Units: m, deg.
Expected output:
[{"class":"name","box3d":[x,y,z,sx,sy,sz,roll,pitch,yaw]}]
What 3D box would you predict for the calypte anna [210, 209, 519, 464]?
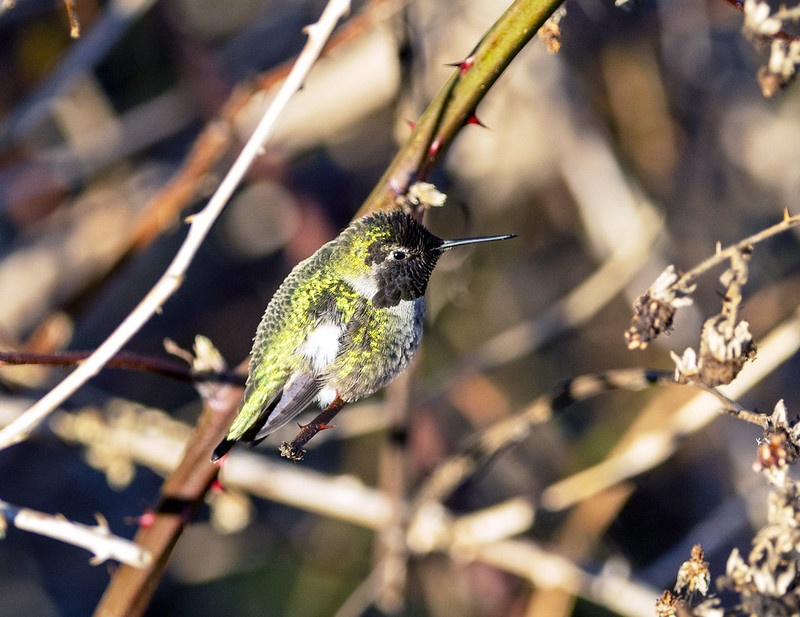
[{"class":"calypte anna","box3d":[-0.105,0.063,2.139,0.417,0.479,0.245,11,2,1]}]
